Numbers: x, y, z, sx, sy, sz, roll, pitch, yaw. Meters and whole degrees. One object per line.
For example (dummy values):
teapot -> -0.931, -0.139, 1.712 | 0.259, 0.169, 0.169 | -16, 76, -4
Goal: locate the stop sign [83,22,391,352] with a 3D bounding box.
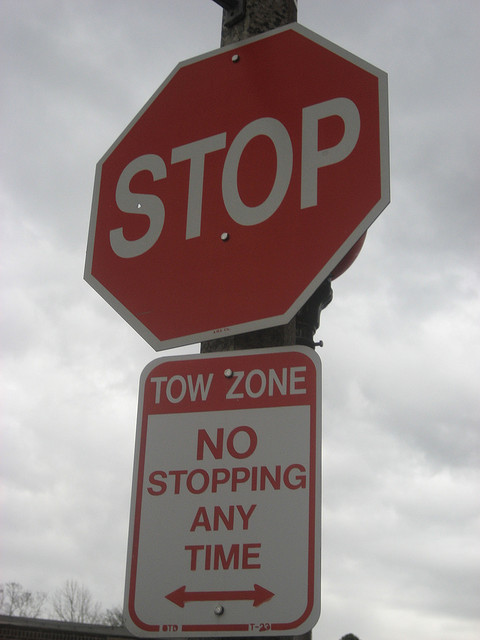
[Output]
stop sign -> 0.003, -0.275, 2.219 | 0.592, 0.658, 0.015 | -22, -37, 28

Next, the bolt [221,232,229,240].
bolt -> -0.039, -0.187, 2.207 | 0.004, 0.016, 0.015 | 14, -4, -42

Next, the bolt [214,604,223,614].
bolt -> -0.045, 0.548, 1.881 | 0.015, 0.018, 0.007 | 2, -22, 10

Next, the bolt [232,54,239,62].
bolt -> -0.016, -0.648, 2.451 | 0.016, 0.019, 0.004 | -2, -14, 44

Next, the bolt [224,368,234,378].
bolt -> -0.028, 0.111, 2.068 | 0.016, 0.018, 0.004 | 31, 12, 38
